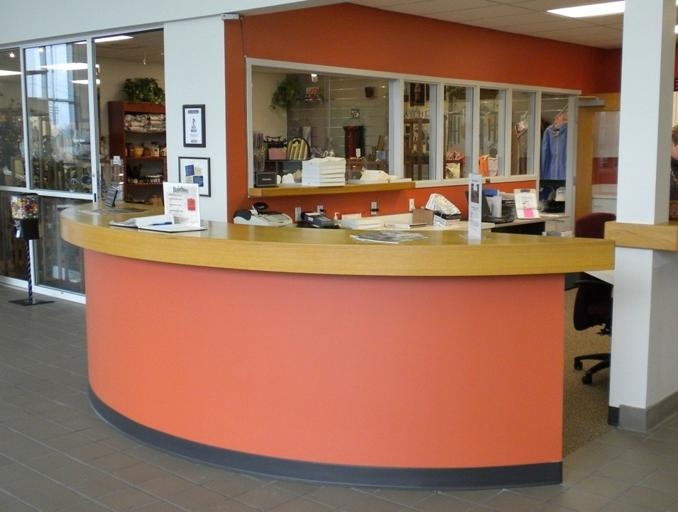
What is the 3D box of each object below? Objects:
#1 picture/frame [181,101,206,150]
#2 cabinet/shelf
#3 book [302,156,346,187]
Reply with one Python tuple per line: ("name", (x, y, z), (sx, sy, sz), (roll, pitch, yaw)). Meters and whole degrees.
("picture/frame", (-1.401, -1.285, 5.840), (0.487, 0.544, 0.043), (5, 6, 40))
("cabinet/shelf", (-3.850, -1.916, 11.067), (1.172, 2.002, 0.501), (-2, -12, 26))
("book", (-0.136, -0.875, 6.216), (0.359, 0.258, 0.350), (-2, 5, -20))
